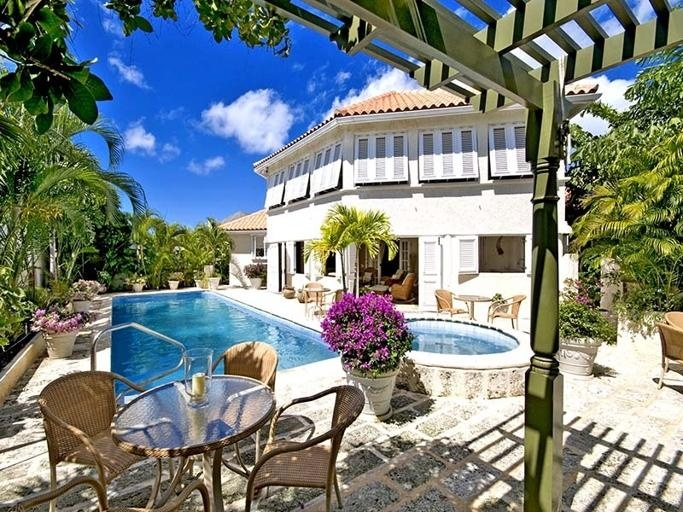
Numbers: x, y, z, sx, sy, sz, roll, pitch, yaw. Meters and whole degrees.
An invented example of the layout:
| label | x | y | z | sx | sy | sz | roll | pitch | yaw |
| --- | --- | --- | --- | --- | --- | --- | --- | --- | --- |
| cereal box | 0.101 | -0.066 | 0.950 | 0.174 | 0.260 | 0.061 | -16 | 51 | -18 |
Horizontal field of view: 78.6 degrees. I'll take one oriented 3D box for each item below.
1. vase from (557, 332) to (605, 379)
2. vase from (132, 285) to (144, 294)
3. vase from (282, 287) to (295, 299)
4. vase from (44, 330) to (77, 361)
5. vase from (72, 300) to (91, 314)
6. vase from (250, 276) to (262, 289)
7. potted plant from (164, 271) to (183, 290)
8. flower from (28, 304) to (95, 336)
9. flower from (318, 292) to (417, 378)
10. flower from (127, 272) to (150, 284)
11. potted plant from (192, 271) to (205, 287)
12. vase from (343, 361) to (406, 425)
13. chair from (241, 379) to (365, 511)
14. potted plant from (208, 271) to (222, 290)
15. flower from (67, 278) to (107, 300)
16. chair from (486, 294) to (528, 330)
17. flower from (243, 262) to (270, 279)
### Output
| label | x | y | z | sx | sy | sz | roll | pitch | yaw |
| --- | --- | --- | --- | --- | --- | --- | --- | --- | --- |
| vase | 4.371 | 1.871 | 7.894 | 0.755 | 0.840 | 0.779 | 5 | 1 | 36 |
| vase | -10.362 | 1.644 | 21.181 | 0.442 | 0.350 | 0.445 | 2 | -4 | -25 |
| vase | -2.224 | 1.515 | 17.520 | 0.503 | 0.448 | 0.340 | 1 | -2 | 0 |
| vase | -5.752 | 1.772 | 8.633 | 0.574 | 0.529 | 0.606 | 2 | -3 | 26 |
| vase | -8.186 | 1.560 | 13.036 | 0.490 | 0.381 | 0.502 | 3 | 2 | 27 |
| vase | -4.688 | 1.392 | 22.662 | 0.648 | 0.605 | 0.583 | 0 | -2 | 21 |
| potted plant | -9.078 | 1.259 | 22.809 | 0.957 | 1.007 | 0.785 | 2 | 5 | 9 |
| flower | -5.871 | 1.308 | 8.543 | 0.876 | 0.469 | 0.895 | 3 | 0 | -3 |
| flower | 0.355 | 1.135 | 6.462 | 1.130 | 1.113 | 1.293 | -5 | 15 | -17 |
| flower | -10.396 | 1.112 | 21.221 | 0.702 | 0.431 | 0.716 | 1 | -2 | -8 |
| potted plant | -7.986 | 1.317 | 23.668 | 0.875 | 0.903 | 0.772 | -1 | -6 | 10 |
| vase | 0.505 | 2.034 | 6.244 | 0.853 | 0.678 | 0.867 | 0 | 1 | -12 |
| chair | -0.394 | 2.194 | 4.973 | 1.364 | 1.766 | 1.282 | 2 | -5 | -1 |
| potted plant | -7.145 | 1.330 | 23.149 | 0.830 | 0.683 | 0.814 | 2 | -1 | 0 |
| flower | -9.314 | 1.189 | 15.186 | 0.876 | 0.635 | 0.908 | 4 | -5 | 10 |
| chair | 4.535 | 1.456 | 11.559 | 0.832 | 0.871 | 2.964 | 0 | -2 | 20 |
| flower | -4.829 | 0.776 | 23.381 | 0.912 | 0.669 | 0.924 | 0 | 2 | -16 |
